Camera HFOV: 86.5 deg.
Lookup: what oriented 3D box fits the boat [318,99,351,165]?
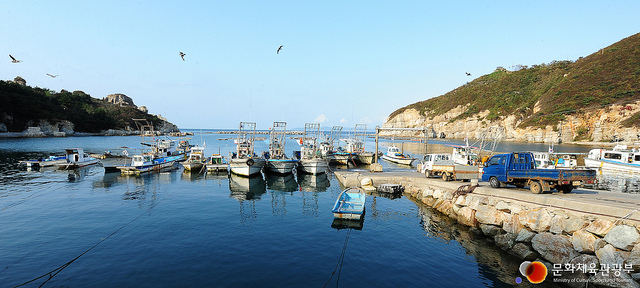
[{"bbox_3d":[4.552,0.906,109.925,9.023,16.132,17.531,2,-1,-13],"label":"boat"}]

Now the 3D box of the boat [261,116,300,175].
[{"bbox_3d":[-8.385,2.875,100.656,9.980,12.650,25.889,0,-2,-11],"label":"boat"}]

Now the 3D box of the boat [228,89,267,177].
[{"bbox_3d":[-21.609,0.945,97.354,11.211,14.397,29.574,0,19,-16],"label":"boat"}]

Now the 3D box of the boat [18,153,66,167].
[{"bbox_3d":[-77.028,4.691,93.019,11.311,2.610,6.211,0,1,22],"label":"boat"}]
